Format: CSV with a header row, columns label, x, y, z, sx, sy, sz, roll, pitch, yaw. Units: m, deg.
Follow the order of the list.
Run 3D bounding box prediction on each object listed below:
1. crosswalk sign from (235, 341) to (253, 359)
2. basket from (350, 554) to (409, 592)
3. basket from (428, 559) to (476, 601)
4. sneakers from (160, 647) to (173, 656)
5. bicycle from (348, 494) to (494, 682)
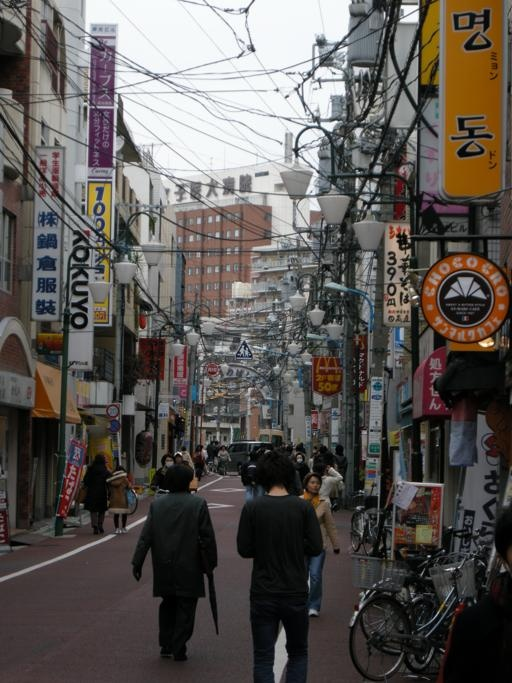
label,x,y,z,sx,sy,sz,roll,pitch,yaw
crosswalk sign,-0.836,0.589,73.758,1.307,1.815,0.344,1,30,-2
basket,0.979,1.811,7.839,0.336,0.225,0.264,5,-10,4
basket,1.544,1.753,7.453,0.303,0.340,0.076,-5,10,42
sneakers,-0.738,2.587,8.207,0.095,0.048,0.121,2,-6,-5
bicycle,1.518,2.126,7.969,0.773,1.190,1.712,1,2,43
